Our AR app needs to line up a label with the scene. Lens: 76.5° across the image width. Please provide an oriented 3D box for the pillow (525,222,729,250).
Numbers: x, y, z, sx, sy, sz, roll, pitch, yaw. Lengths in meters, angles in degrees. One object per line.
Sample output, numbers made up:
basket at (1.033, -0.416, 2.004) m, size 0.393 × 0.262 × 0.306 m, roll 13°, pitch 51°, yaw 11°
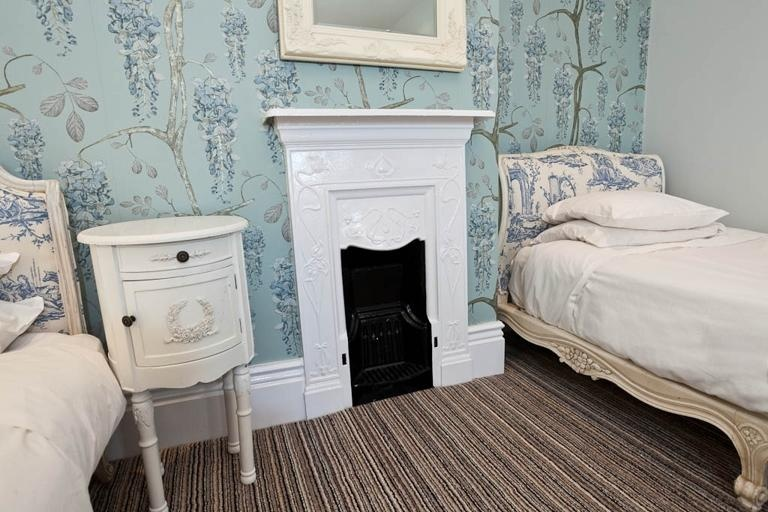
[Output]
pillow at (1.518, -0.129, 2.948) m, size 0.660 × 0.112 × 0.384 m, roll -4°, pitch 8°, yaw -6°
